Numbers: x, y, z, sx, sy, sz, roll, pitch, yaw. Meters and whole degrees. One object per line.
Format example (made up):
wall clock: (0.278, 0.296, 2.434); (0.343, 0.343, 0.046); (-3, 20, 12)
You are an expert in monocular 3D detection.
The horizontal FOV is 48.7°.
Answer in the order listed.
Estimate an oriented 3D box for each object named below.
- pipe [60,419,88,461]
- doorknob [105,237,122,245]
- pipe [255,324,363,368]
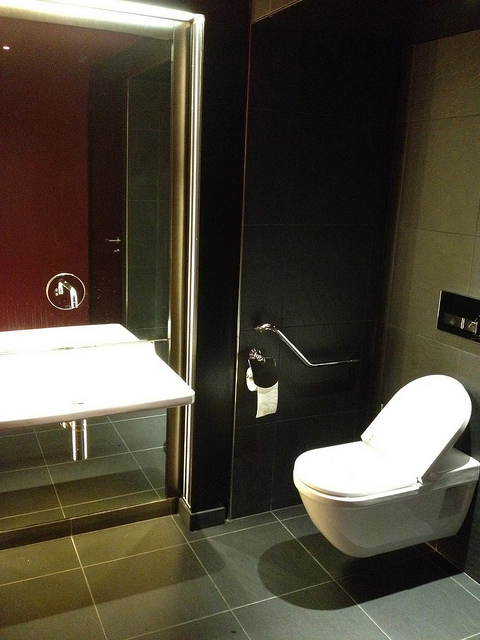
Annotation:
pipe: (-0.555, 0.410, 1.772); (0.087, 0.052, 0.148); (-6, 56, -11)
doorknob: (-0.434, -0.273, 1.846); (0.020, 0.022, 0.036); (13, 9, 38)
pipe: (0.304, 0.111, 2.220); (0.589, 0.212, 0.084); (-4, 10, -37)
